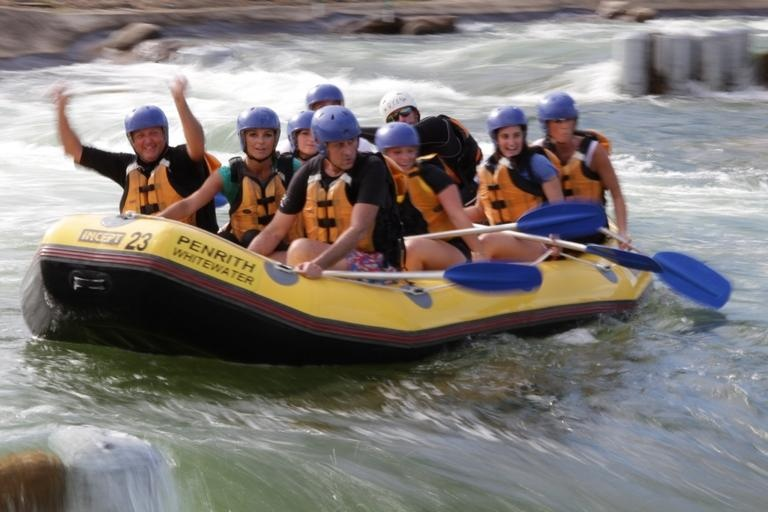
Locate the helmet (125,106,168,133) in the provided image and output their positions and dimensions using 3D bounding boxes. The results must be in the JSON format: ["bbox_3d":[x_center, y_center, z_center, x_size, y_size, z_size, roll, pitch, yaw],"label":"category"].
[{"bbox_3d":[-2.039,-1.185,6.805,0.344,0.203,0.325,-10,-19,-8],"label":"helmet"}]
